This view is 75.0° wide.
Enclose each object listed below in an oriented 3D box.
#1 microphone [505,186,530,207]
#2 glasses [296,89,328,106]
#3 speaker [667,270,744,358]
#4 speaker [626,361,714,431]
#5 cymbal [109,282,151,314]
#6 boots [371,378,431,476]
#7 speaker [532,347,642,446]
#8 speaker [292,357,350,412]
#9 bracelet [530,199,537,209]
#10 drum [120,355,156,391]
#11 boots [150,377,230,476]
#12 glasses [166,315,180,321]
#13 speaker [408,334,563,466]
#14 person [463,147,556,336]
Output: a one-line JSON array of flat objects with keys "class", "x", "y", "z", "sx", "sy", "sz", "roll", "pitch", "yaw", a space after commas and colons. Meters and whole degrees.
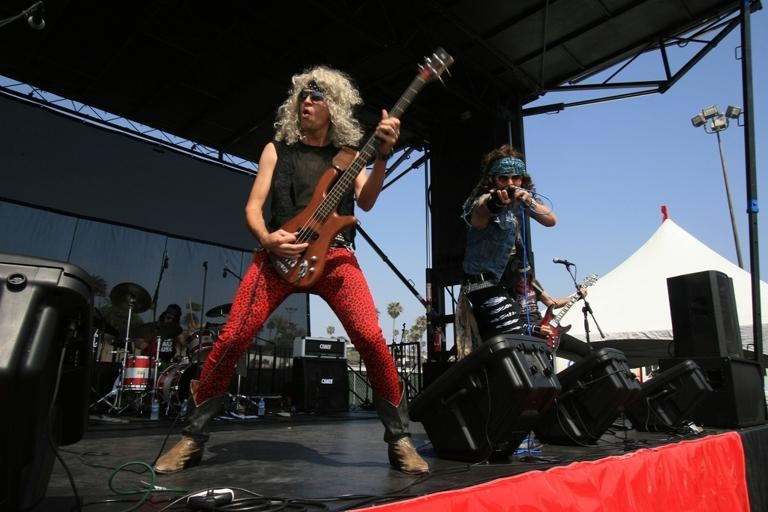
[{"class": "microphone", "x": 1.030, "y": -0.458, "z": 3.825, "sx": 0.155, "sy": 0.139, "sz": 0.343, "roll": -6, "pitch": -16, "yaw": 24}, {"class": "glasses", "x": -0.503, "y": -1.105, "z": 3.457, "sx": 0.122, "sy": 0.127, "sz": 0.044, "roll": 4, "pitch": 1, "yaw": 25}, {"class": "speaker", "x": 3.250, "y": 0.590, "z": 5.052, "sx": 0.693, "sy": 0.881, "sz": 0.514, "roll": -3, "pitch": -16, "yaw": 14}, {"class": "speaker", "x": 2.584, "y": 1.299, "z": 4.542, "sx": 0.751, "sy": 0.583, "sz": 0.230, "roll": -32, "pitch": -25, "yaw": 16}, {"class": "cymbal", "x": -3.897, "y": 0.654, "z": 7.716, "sx": 0.506, "sy": 0.182, "sz": 0.501, "roll": 29, "pitch": -70, "yaw": -20}, {"class": "boots", "x": 0.123, "y": 1.126, "z": 3.245, "sx": 0.370, "sy": 0.496, "sz": 0.275, "roll": -3, "pitch": -16, "yaw": 14}, {"class": "speaker", "x": 1.581, "y": 1.128, "z": 4.078, "sx": 0.664, "sy": 0.604, "sz": 0.884, "roll": 15, "pitch": -49, "yaw": -34}, {"class": "speaker", "x": -1.082, "y": 2.188, "z": 8.351, "sx": 0.783, "sy": 0.728, "sz": 0.360, "roll": 13, "pitch": -26, "yaw": -37}, {"class": "bracelet", "x": 1.163, "y": -0.402, "z": 3.910, "sx": 0.055, "sy": 0.076, "sz": 0.020, "roll": -14, "pitch": 3, "yaw": -35}, {"class": "drum", "x": -3.501, "y": 1.685, "z": 7.159, "sx": 0.447, "sy": 0.449, "sz": 0.455, "roll": -12, "pitch": -20, "yaw": 37}, {"class": "boots", "x": -1.249, "y": 1.074, "z": 3.176, "sx": 0.384, "sy": 0.547, "sz": 0.173, "roll": 13, "pitch": -19, "yaw": -37}, {"class": "glasses", "x": -4.049, "y": 1.235, "z": 9.749, "sx": 0.122, "sy": 0.120, "sz": 0.121, "roll": -2, "pitch": -17, "yaw": -2}, {"class": "speaker", "x": 0.655, "y": 0.958, "z": 3.506, "sx": 0.751, "sy": 0.558, "sz": 0.944, "roll": 16, "pitch": -58, "yaw": -47}, {"class": "person", "x": 1.018, "y": -0.183, "z": 4.018, "sx": 0.760, "sy": 1.670, "sz": 0.821, "roll": 2, "pitch": -15, "yaw": -6}]
